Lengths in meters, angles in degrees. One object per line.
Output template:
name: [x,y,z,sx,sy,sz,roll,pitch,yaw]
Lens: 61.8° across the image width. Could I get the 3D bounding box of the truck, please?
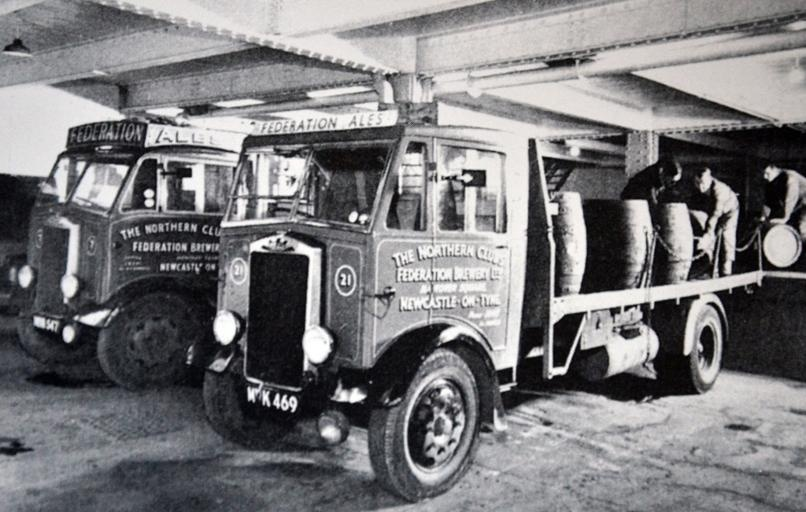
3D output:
truck: [1.671,0.491,11.074,4.968,3.841,9.201,-2,-4,44]
